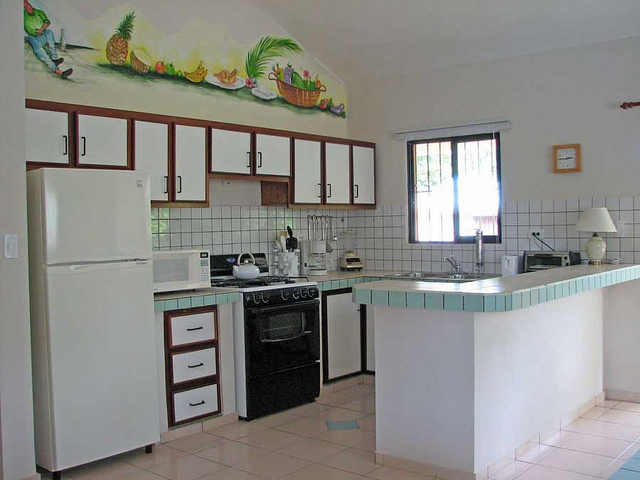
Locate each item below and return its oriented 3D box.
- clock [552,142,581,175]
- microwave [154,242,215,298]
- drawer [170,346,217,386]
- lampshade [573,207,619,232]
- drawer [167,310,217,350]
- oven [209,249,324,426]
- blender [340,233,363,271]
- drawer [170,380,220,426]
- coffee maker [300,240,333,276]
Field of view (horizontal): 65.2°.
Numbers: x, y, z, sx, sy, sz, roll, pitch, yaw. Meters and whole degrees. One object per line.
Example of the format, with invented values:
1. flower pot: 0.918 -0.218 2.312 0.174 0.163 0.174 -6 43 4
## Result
1. clock: 2.342 -0.781 4.740 0.304 0.376 0.050 2 4 36
2. microwave: -1.087 0.250 3.989 0.314 0.333 0.496 0 2 42
3. drawer: -0.949 1.023 4.035 0.428 0.273 0.253 -13 -22 11
4. lampshade: 2.416 -0.175 4.422 0.252 0.173 0.256 -1 4 31
5. drawer: -0.970 0.721 4.034 0.454 0.272 0.292 -9 -15 6
6. oven: -0.518 0.804 4.707 1.034 1.424 0.826 -2 1 -41
7. blender: 0.361 0.122 5.839 0.285 0.467 0.293 -2 1 0
8. drawer: -0.986 1.274 3.926 0.284 0.175 0.267 -5 -3 45
9. coffee maker: -0.057 0.178 5.550 0.317 0.373 0.305 0 3 20
